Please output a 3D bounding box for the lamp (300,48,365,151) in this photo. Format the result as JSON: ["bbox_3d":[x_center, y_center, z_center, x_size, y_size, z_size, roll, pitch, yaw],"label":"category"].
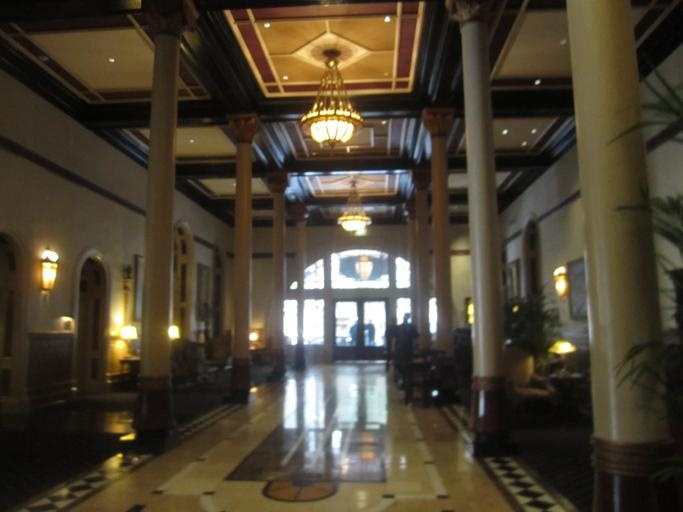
[{"bbox_3d":[-0.173,-3.062,10.826,1.005,1.849,1.070,-1,-6,3],"label":"lamp"}]

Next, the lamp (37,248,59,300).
[{"bbox_3d":[-6.111,0.343,11.462,0.232,1.034,0.482,-2,-11,0],"label":"lamp"}]
